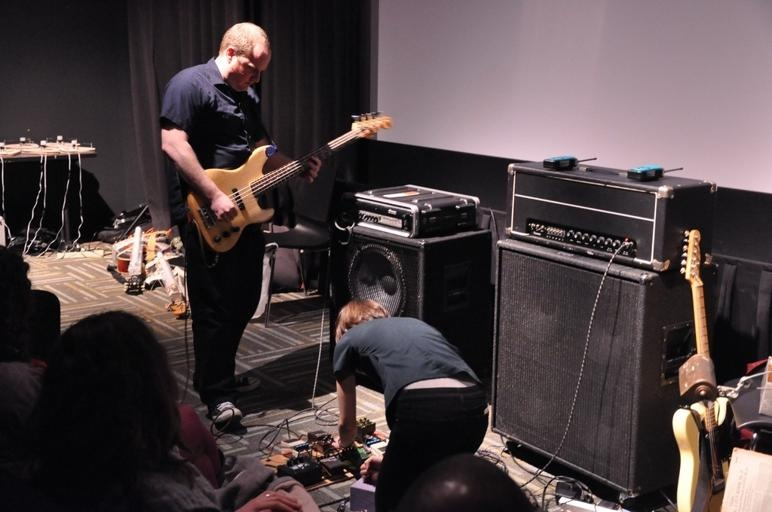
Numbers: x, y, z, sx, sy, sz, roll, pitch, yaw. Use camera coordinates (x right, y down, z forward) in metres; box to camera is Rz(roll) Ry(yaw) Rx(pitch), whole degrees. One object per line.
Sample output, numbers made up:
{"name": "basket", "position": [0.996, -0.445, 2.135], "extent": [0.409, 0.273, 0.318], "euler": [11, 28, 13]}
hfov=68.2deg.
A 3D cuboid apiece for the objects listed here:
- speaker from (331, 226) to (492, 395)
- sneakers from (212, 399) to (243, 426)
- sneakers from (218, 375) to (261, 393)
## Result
{"name": "speaker", "position": [0.152, 0.260, 3.149], "extent": [0.592, 0.990, 0.942], "euler": [-4, 7, -35]}
{"name": "sneakers", "position": [-0.947, 0.925, 3.353], "extent": [0.180, 0.106, 0.075], "euler": [9, -12, 40]}
{"name": "sneakers", "position": [-0.931, 0.824, 3.706], "extent": [0.219, 0.091, 0.089], "euler": [3, 12, -19]}
